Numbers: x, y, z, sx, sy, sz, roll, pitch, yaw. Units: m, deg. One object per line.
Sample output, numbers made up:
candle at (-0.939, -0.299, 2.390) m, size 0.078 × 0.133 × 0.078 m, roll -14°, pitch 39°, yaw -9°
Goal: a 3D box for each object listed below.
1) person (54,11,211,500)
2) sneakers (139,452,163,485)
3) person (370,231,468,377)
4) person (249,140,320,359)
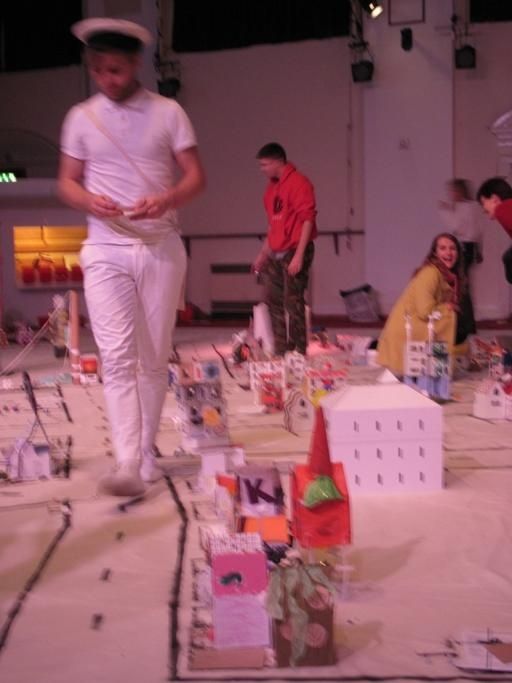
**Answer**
person at (-0.381, -0.304, 1.858) m, size 0.455 × 1.521 × 0.341 m, roll -2°, pitch 2°, yaw -19°
sneakers at (-0.347, 0.416, 1.918) m, size 0.040 × 0.077 × 0.112 m, roll 1°, pitch 6°, yaw 5°
person at (1.153, -0.238, 4.133) m, size 0.541 × 1.022 × 0.458 m, roll 10°, pitch 24°, yaw 26°
person at (0.236, -0.707, 4.440) m, size 0.421 × 1.636 × 0.784 m, roll -2°, pitch 2°, yaw -16°
